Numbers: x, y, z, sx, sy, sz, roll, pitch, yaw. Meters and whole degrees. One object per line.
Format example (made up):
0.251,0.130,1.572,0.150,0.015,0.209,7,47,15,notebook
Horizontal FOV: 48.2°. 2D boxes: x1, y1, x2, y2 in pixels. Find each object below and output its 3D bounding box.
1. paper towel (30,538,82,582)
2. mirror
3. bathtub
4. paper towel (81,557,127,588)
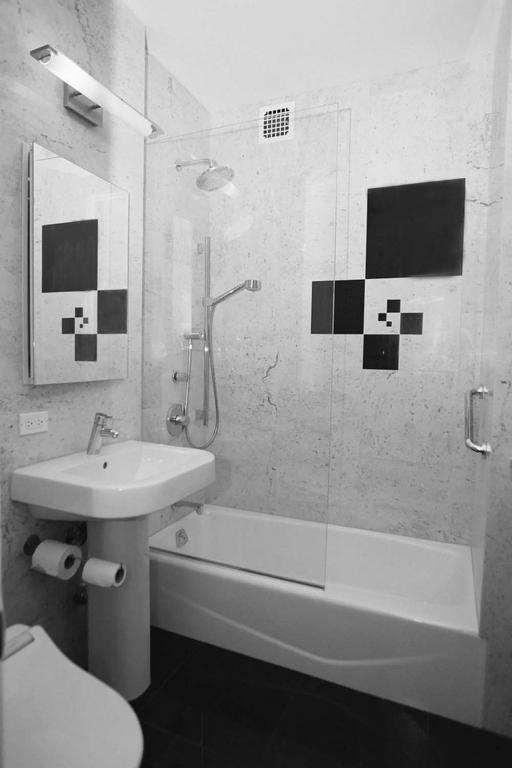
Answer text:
-0.635,0.551,1.857,0.120,0.134,0.133,11,-33,6,paper towel
-0.608,-0.388,2.024,0.036,0.765,0.524,3,7,21,mirror
0.239,0.742,2.291,1.201,0.511,0.597,5,8,21,bathtub
-0.484,0.621,1.838,0.121,0.112,0.122,1,7,-4,paper towel
